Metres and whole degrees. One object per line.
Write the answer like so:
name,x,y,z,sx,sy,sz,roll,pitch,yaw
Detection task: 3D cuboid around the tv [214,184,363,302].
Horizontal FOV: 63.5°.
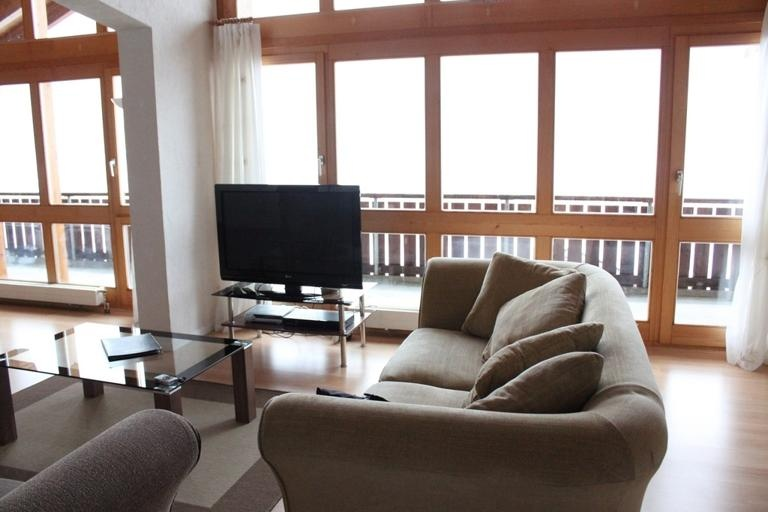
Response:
tv,-0.787,-0.123,5.207,1.117,0.739,0.115,1,5,15

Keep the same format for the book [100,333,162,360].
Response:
book,-1.779,0.628,4.344,0.238,0.052,0.214,-6,21,-33

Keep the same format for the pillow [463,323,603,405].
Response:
pillow,0.768,0.483,3.193,0.527,0.181,0.514,-16,3,27

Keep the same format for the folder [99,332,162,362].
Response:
folder,-1.783,0.631,4.336,0.250,0.059,0.220,-5,21,-29
